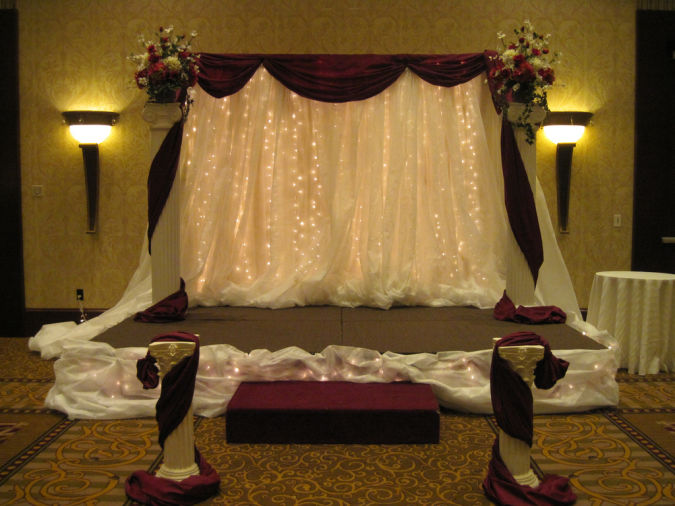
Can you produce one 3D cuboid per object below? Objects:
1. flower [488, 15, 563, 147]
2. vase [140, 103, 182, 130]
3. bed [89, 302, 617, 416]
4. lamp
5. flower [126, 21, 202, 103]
[{"bbox_3d":[1.639,-1.517,5.364,0.567,1.064,0.544,0,5,27],"label":"flower"},{"bbox_3d":[-1.618,-1.263,5.451,0.240,0.199,0.259,0,6,-2],"label":"vase"},{"bbox_3d":[0.131,0.814,4.654,3.053,0.516,1.705,-1,12,0],"label":"bed"},{"bbox_3d":[2.434,-0.855,6.361,0.468,1.288,0.230,0,5,23],"label":"lamp"},{"bbox_3d":[-1.553,-1.553,5.476,0.442,0.684,0.543,-8,0,11],"label":"flower"}]
